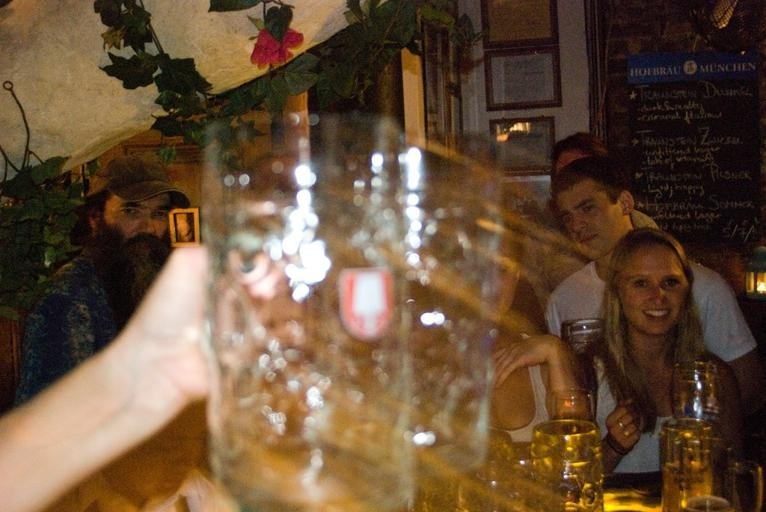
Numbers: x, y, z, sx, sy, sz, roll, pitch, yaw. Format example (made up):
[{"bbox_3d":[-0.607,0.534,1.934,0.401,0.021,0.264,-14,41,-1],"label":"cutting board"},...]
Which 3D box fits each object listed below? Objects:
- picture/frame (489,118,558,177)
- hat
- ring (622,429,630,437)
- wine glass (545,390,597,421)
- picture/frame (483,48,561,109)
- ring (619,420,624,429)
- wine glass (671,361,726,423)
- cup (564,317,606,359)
[{"bbox_3d":[0.907,-0.712,4.594,0.421,0.385,0.039,-1,-7,5],"label":"picture/frame"},{"bbox_3d":[-1.023,-0.326,2.957,0.299,0.205,0.419,-8,8,-44],"label":"hat"},{"bbox_3d":[0.739,0.538,2.134,0.019,0.015,0.003,0,8,13],"label":"ring"},{"bbox_3d":[0.522,0.417,1.995,0.093,0.094,0.093,0,-4,15],"label":"wine glass"},{"bbox_3d":[0.916,-1.145,4.573,0.497,0.395,0.048,4,20,28],"label":"picture/frame"},{"bbox_3d":[0.725,0.512,2.133,0.015,0.018,0.004,-1,8,12],"label":"ring"},{"bbox_3d":[0.964,0.422,2.168,0.134,0.173,0.108,0,8,13],"label":"wine glass"},{"bbox_3d":[0.703,0.280,2.456,0.136,0.117,0.139,1,2,0],"label":"cup"}]
